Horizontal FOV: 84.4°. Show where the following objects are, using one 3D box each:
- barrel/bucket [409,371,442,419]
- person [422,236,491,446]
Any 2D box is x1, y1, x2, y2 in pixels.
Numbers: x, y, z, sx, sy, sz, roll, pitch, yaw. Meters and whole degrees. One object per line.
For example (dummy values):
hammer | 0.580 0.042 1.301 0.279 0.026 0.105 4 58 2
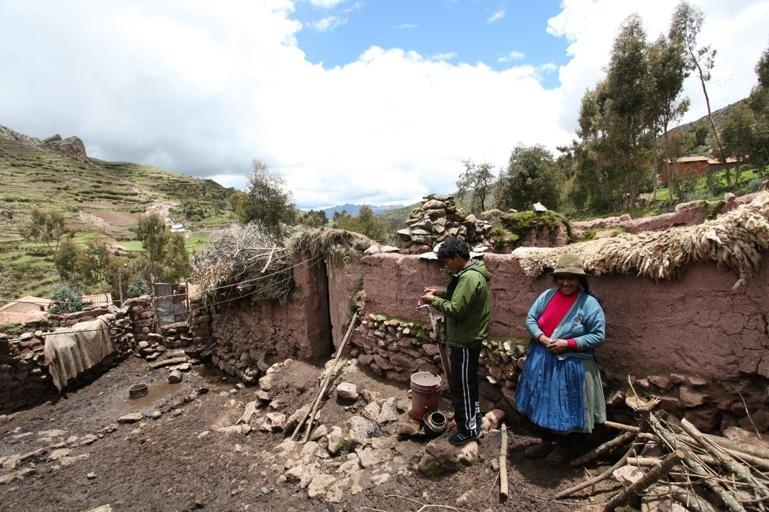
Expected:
barrel/bucket | 0.819 2.550 7.931 0.687 1.019 0.780 3 12 7
person | 1.282 1.384 7.058 0.858 3.387 0.548 0 5 12
